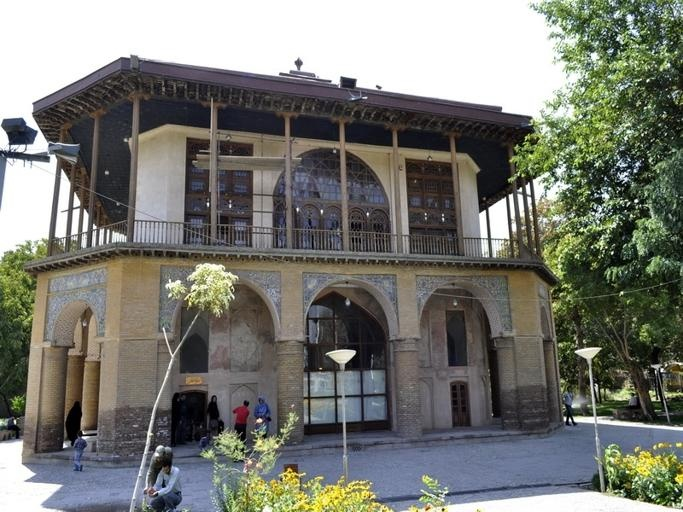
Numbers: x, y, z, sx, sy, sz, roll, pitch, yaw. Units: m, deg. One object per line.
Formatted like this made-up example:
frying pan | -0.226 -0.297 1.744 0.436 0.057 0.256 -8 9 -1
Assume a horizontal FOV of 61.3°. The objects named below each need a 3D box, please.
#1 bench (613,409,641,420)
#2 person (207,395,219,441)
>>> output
bench | 15.266 8.398 30.576 1.304 0.533 1.351 -7 -14 22
person | -4.403 5.582 19.956 0.400 1.471 1.055 1 -13 -12
